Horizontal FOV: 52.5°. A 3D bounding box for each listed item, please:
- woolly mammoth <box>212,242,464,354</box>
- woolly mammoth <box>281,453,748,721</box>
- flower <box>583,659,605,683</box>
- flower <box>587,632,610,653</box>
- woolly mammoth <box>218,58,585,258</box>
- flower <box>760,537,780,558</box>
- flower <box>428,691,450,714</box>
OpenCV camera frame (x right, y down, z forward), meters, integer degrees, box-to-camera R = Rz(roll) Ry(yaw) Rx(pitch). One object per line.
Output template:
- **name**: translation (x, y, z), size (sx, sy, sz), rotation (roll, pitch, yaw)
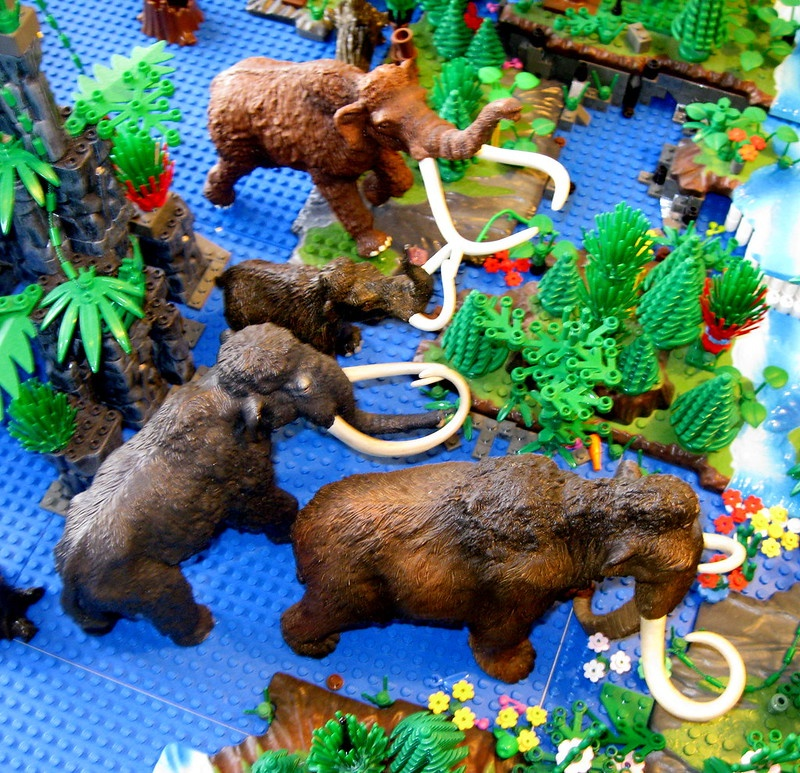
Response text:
- **woolly mammoth**: translation (-0.402, -0.408, 4.320), size (1.139, 0.494, 0.340), rotation (2, 42, -7)
- **woolly mammoth**: translation (0.438, 0.867, 3.411), size (2.052, 0.881, 0.946), rotation (-2, 59, 4)
- **flower**: translation (0.904, 1.328, 3.777), size (0.130, 0.031, 0.095), rotation (1, 87, 11)
- **flower**: translation (0.934, 1.210, 3.821), size (0.106, 0.028, 0.086), rotation (4, 90, 6)
- **woolly mammoth**: translation (-0.313, -1.330, 4.630), size (1.705, 1.092, 0.536), rotation (19, 57, 12)
- **flower**: translation (1.880, 0.814, 4.100), size (0.108, 0.052, 0.087), rotation (-1, 52, -3)
- **flower**: translation (0.175, 1.438, 3.684), size (0.126, 0.030, 0.103), rotation (1, 76, 4)
